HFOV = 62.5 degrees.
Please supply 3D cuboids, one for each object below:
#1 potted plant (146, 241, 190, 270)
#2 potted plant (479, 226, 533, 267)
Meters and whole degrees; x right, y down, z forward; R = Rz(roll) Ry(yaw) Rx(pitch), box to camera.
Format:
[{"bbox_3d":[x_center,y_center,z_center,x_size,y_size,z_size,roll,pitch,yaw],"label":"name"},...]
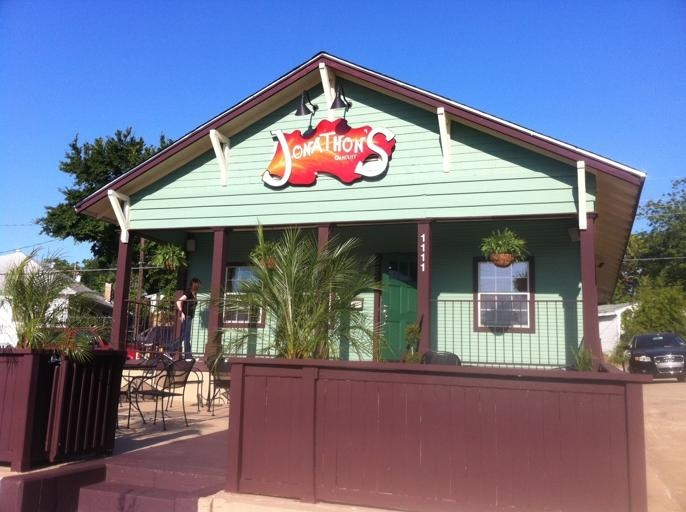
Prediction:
[{"bbox_3d":[-4.157,0.010,13.300,0.842,0.881,0.905,1,-6,-2],"label":"potted plant"},{"bbox_3d":[3.042,-0.314,10.553,0.889,0.734,0.915,-5,-14,38],"label":"potted plant"}]
